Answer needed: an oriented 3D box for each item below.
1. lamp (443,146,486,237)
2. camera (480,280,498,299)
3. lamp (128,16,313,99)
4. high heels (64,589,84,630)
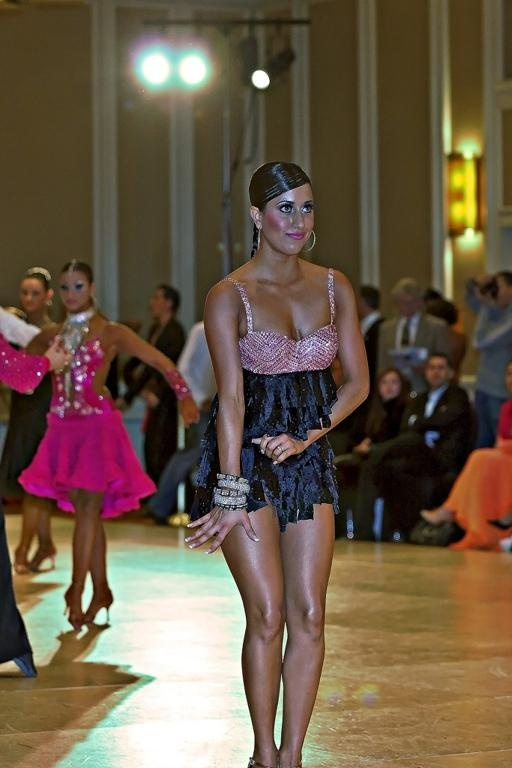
[{"bbox_3d":[0.963,-0.875,3.961,0.128,0.427,0.294,-1,-3,-20],"label":"lamp"},{"bbox_3d":[0.972,-0.396,3.597,0.064,0.082,0.031,8,19,1],"label":"camera"},{"bbox_3d":[-0.188,-2.118,5.596,1.187,0.419,0.167,-5,21,-13],"label":"lamp"},{"bbox_3d":[-0.699,0.857,3.320,0.081,0.148,0.042,5,10,17],"label":"high heels"}]
